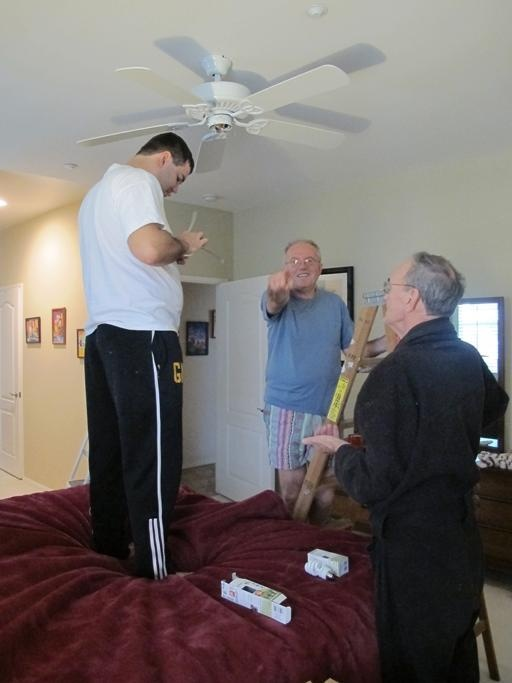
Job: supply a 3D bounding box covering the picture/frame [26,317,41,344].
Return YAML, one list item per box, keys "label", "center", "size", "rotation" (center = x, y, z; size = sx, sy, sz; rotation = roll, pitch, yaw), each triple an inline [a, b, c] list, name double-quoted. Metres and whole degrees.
- label: "picture/frame"
  center: [-2.231, -0.119, 5.424]
  size: [0.277, 0.262, 0.015]
  rotation: [-1, -3, 42]
